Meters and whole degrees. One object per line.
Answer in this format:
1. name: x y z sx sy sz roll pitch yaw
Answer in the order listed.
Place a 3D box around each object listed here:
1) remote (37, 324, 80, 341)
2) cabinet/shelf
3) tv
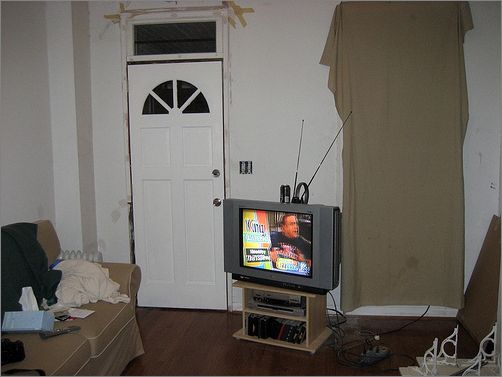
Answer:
1. remote: -1.329 0.959 3.147 0.089 0.050 0.250 -3 -2 41
2. cabinet/shelf: 0.330 1.006 4.019 0.977 0.660 0.633 1 4 28
3. tv: 0.254 0.457 3.756 0.945 0.791 0.297 6 5 33
